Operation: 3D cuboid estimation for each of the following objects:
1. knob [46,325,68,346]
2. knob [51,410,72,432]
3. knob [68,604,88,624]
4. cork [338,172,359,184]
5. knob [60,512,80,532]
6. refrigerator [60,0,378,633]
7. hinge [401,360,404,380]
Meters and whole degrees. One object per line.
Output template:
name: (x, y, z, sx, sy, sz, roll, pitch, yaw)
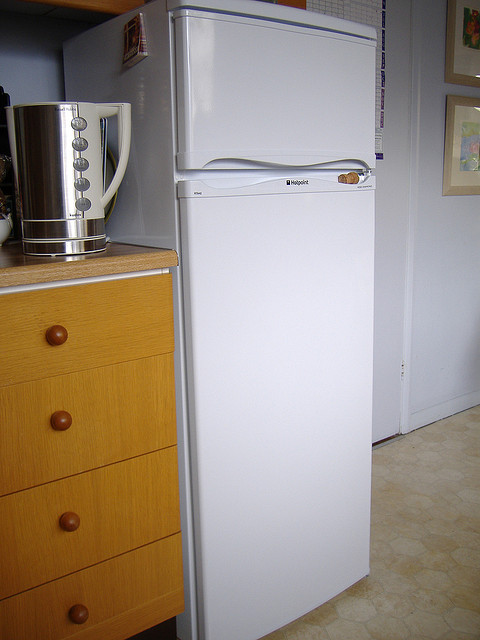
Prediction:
knob: (-0.291, 0.024, 0.800, 0.015, 0.030, 0.030, -5, 29, 36)
knob: (-0.297, 0.169, 0.839, 0.034, 0.036, 0.025, -5, 10, -25)
knob: (-0.297, 0.540, 0.924, 0.034, 0.039, 0.025, -4, 10, -20)
cork: (0.259, -0.335, 1.198, 0.037, 0.029, 0.013, 0, 2, 0)
knob: (-0.296, 0.348, 0.875, 0.030, 0.031, 0.017, -34, -10, 10)
refrigerator: (0.078, 0.054, 1.191, 0.637, 1.461, 0.286, -5, 10, -25)
hinge: (0.799, 0.244, 2.471, 0.012, 0.093, 0.006, -4, 9, -16)
